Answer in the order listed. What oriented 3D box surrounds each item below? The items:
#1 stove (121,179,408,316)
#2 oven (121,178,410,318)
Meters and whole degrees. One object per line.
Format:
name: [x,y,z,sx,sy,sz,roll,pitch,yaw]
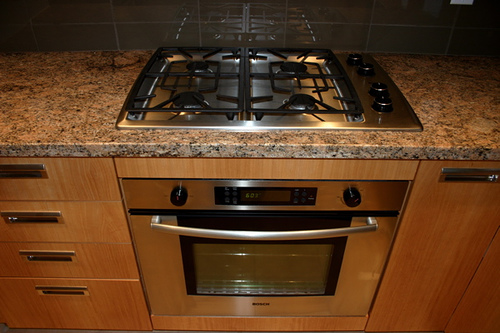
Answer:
stove: [0.075,0.434,1.964,1.348,0.562,0.737,-2,-6,7]
oven: [0.057,0.353,1.907,1.365,0.703,0.647,0,45,1]
